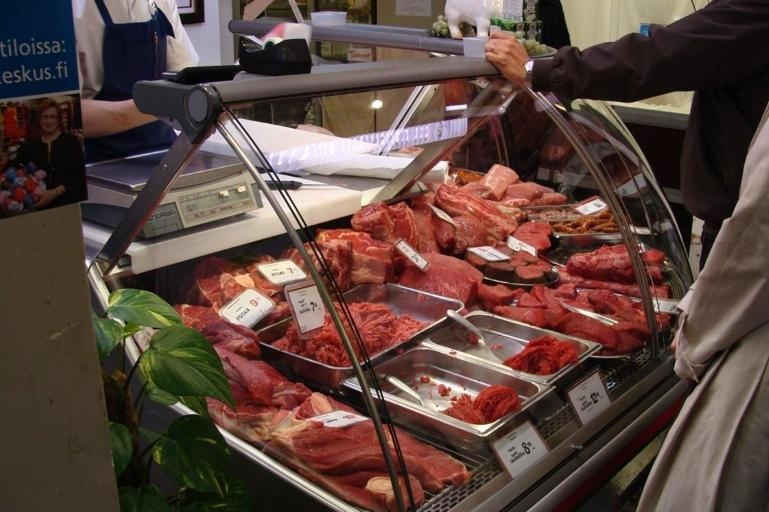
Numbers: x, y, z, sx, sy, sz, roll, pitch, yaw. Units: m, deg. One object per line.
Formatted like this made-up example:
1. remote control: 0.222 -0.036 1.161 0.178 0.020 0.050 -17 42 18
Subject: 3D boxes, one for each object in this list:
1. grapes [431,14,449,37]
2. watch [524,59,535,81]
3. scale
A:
1. grapes: 0.314 -1.264 2.870 0.078 0.155 0.117 6 36 -1
2. watch: 0.556 -0.715 1.948 0.029 0.079 0.079 5 0 32
3. scale: -0.679 -0.195 1.527 0.364 0.146 0.359 19 31 34
